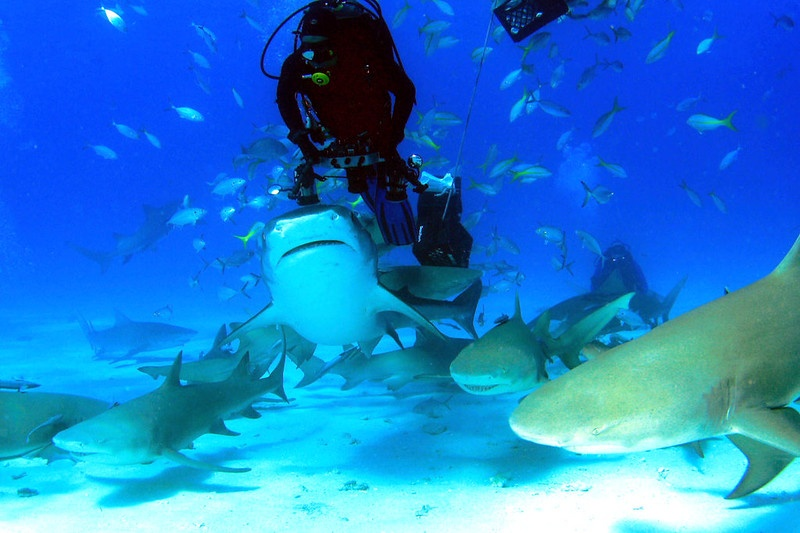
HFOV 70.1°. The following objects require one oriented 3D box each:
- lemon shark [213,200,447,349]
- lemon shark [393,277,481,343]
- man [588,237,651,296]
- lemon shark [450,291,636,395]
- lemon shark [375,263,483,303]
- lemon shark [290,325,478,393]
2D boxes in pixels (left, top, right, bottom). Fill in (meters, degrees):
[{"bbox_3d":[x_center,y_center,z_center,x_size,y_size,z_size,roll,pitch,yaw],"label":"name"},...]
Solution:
[{"bbox_3d":[-1.169,0.221,8.906,2.290,1.769,2.779,-12,-43,-1],"label":"lemon shark"},{"bbox_3d":[0.228,0.840,10.864,3.117,1.122,0.881,-4,-12,42],"label":"lemon shark"},{"bbox_3d":[5.701,0.081,14.741,1.496,0.687,2.089,-9,-19,17],"label":"man"},{"bbox_3d":[2.225,1.070,8.554,2.858,1.099,1.298,-8,4,-45],"label":"lemon shark"},{"bbox_3d":[0.443,0.227,10.332,1.975,0.676,0.660,1,16,-24],"label":"lemon shark"},{"bbox_3d":[-0.011,1.696,10.492,3.947,1.000,1.102,-7,12,-2],"label":"lemon shark"}]
